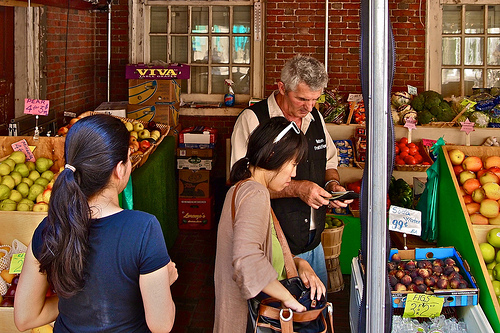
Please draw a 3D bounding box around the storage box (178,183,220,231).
[{"bbox_3d":[-0.742,0.616,5.356,0.446,0.477,0.465,0,2,0],"label":"storage box"}]

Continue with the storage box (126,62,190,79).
[{"bbox_3d":[-1.243,-1.297,5.126,0.841,0.212,0.166,-1,7,-6],"label":"storage box"}]

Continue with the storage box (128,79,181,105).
[{"bbox_3d":[-1.275,-1.130,5.406,0.686,0.429,0.719,3,16,18],"label":"storage box"}]

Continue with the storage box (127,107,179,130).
[{"bbox_3d":[-1.262,-0.634,4.827,0.536,0.283,0.404,1,3,8],"label":"storage box"}]

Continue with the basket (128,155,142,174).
[{"bbox_3d":[-0.935,-0.027,3.087,0.057,0.153,0.118,19,-1,-31],"label":"basket"}]

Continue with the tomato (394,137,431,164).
[{"bbox_3d":[1.845,-0.174,4.282,0.339,0.106,0.362,1,48,1],"label":"tomato"}]

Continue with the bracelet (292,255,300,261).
[{"bbox_3d":[0.250,0.504,2.047,0.052,0.027,0.072,0,-2,6],"label":"bracelet"}]

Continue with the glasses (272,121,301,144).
[{"bbox_3d":[0.174,-0.155,1.811,0.137,0.082,0.033,-41,0,-8],"label":"glasses"}]

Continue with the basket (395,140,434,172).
[{"bbox_3d":[1.870,-0.142,4.377,0.431,0.370,0.536,1,8,12],"label":"basket"}]
